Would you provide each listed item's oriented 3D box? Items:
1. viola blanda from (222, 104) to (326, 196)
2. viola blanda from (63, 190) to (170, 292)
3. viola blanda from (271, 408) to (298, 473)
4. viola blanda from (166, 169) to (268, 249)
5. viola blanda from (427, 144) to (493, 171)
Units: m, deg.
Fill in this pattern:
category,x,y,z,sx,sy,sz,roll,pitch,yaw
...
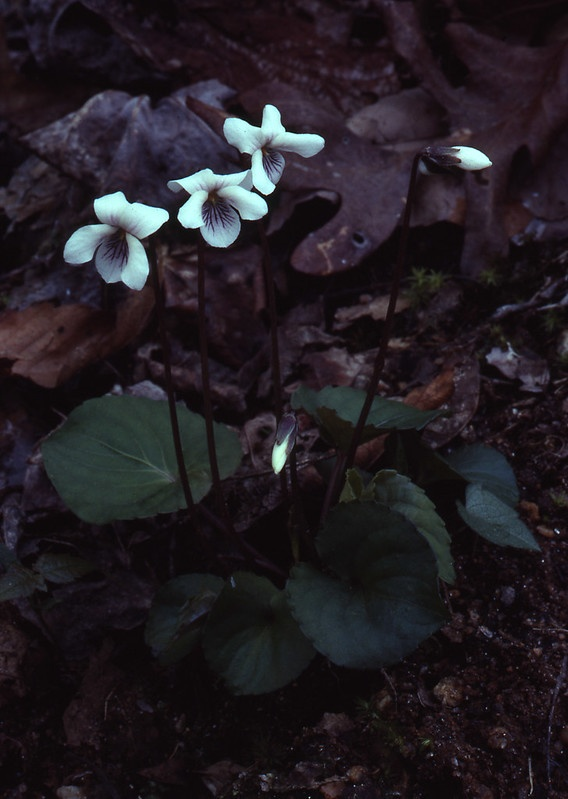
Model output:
category,x,y,z,sx,sy,sz,roll,pitch,yaw
viola blanda,-0.051,-0.726,2.192,0.229,0.215,0.079,6,73,54
viola blanda,-0.436,-0.451,2.049,0.238,0.065,0.222,10,12,-45
viola blanda,-0.012,0.113,2.143,0.068,0.066,0.166,14,83,17
viola blanda,-0.181,-0.495,2.062,0.234,0.194,0.161,-9,47,-17
viola blanda,0.452,-0.643,2.104,0.226,0.065,0.068,17,19,31
